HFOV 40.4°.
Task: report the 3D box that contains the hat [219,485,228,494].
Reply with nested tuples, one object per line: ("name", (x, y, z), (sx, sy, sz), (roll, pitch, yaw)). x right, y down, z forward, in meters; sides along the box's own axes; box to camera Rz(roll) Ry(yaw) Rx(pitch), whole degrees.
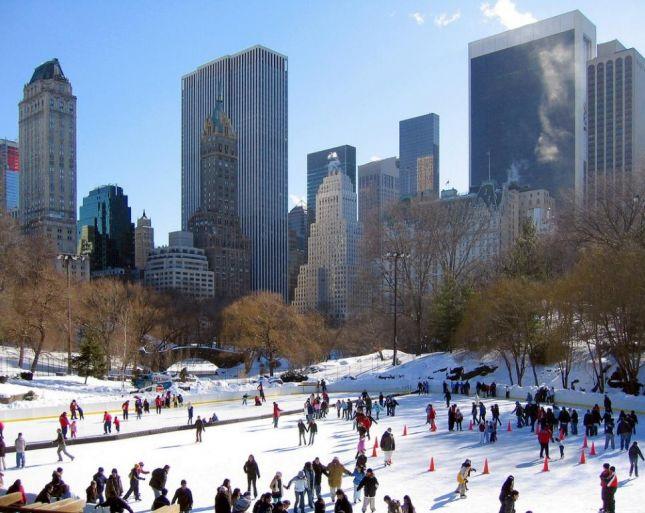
("hat", (-5.559, 13.224, 49.343), (0.394, 0.432, 0.324), (-8, 4, -22))

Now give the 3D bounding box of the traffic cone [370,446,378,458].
("traffic cone", (3.416, 13.014, 58.066), (0.529, 0.901, 0.618), (0, -6, 5))

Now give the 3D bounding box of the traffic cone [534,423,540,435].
("traffic cone", (15.223, 12.393, 62.350), (0.382, 0.894, 0.455), (-3, -6, 0))

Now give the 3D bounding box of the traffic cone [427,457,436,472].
("traffic cone", (6.959, 13.382, 55.910), (0.611, 1.000, 0.650), (3, -6, -24))

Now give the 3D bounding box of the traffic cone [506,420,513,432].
("traffic cone", (13.434, 12.380, 63.224), (0.519, 1.101, 0.578), (-5, 13, 0))
